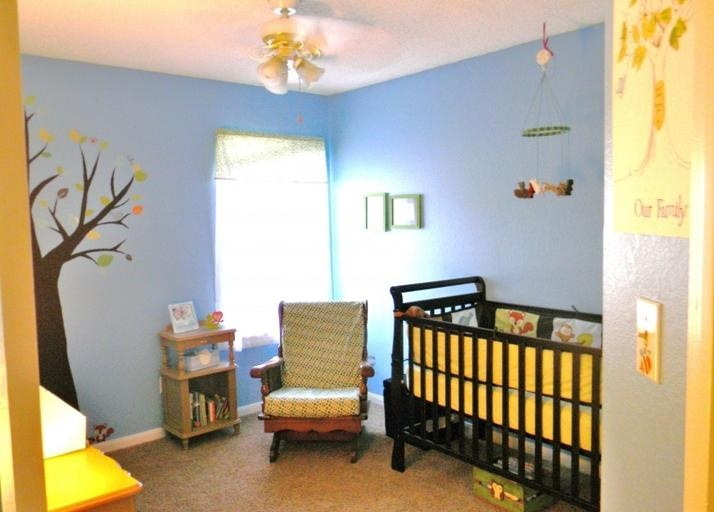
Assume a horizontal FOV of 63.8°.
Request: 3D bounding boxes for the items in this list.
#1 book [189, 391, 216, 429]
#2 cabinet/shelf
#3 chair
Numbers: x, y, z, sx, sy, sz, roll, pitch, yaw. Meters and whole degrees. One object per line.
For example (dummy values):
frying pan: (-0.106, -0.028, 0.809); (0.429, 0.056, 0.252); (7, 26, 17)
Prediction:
book: (-1.180, 1.127, 4.384); (0.212, 0.281, 0.285); (-1, 1, -31)
cabinet/shelf: (-1.208, 0.978, 4.421); (0.542, 0.854, 0.351); (-5, 5, -41)
chair: (-0.306, 0.878, 4.217); (0.846, 0.976, 0.808); (-1, 7, 2)
